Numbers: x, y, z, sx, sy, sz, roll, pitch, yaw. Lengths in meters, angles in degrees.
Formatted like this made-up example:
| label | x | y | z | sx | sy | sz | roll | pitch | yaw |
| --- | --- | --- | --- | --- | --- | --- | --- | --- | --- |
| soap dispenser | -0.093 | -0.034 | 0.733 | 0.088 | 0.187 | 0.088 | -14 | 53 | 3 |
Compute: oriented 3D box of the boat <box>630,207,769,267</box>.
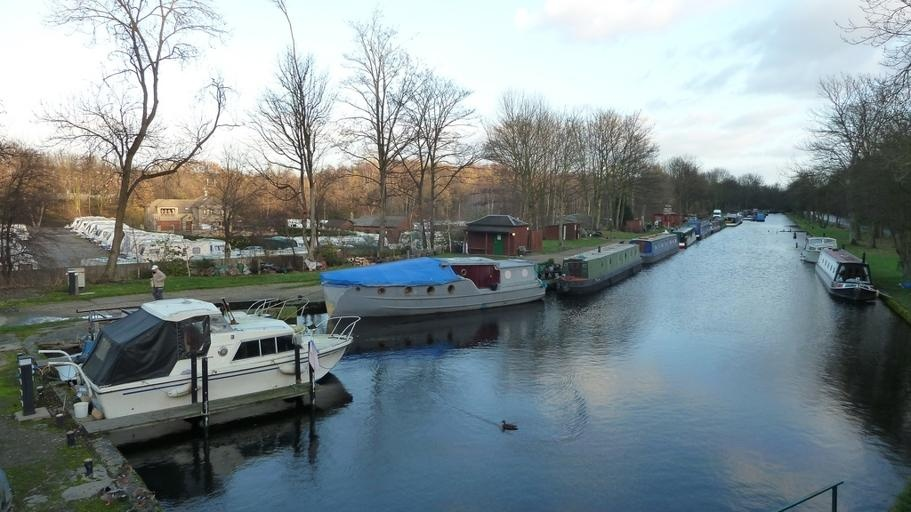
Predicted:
| label | x | y | z | sx | sy | sz | roll | pitch | yaw |
| --- | --- | --- | --- | --- | --- | --- | --- | --- | --- |
| boat | 39.313 | -3.488 | 104.754 | 5.229 | 4.873 | 67.374 | 10 | 13 | 31 |

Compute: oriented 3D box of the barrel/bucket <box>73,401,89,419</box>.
| label | x | y | z | sx | sy | sz | roll | pitch | yaw |
| --- | --- | --- | --- | --- | --- | --- | --- | --- | --- |
| barrel/bucket | -19.384 | 7.854 | 33.180 | 0.726 | 0.663 | 0.838 | 2 | -1 | -6 |

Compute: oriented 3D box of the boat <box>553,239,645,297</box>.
| label | x | y | z | sx | sy | sz | roll | pitch | yaw |
| --- | --- | --- | --- | --- | --- | --- | --- | --- | --- |
| boat | 13.703 | 1.012 | 60.694 | 3.528 | 2.989 | 14.074 | 9 | 16 | 34 |

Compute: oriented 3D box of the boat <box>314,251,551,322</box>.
| label | x | y | z | sx | sy | sz | roll | pitch | yaw |
| --- | --- | --- | --- | --- | --- | --- | --- | --- | --- |
| boat | -1.274 | 2.552 | 50.092 | 17.565 | 4.237 | 5.478 | -2 | 5 | -23 |

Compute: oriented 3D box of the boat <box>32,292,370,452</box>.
| label | x | y | z | sx | sy | sz | roll | pitch | yaw |
| --- | --- | --- | --- | --- | --- | --- | --- | --- | --- |
| boat | -15.436 | 6.071 | 35.965 | 15.674 | 4.616 | 7.767 | -5 | 7 | -37 |

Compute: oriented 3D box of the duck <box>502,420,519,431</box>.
| label | x | y | z | sx | sy | sz | roll | pitch | yaw |
| --- | --- | --- | --- | --- | --- | --- | --- | --- | --- |
| duck | 2.967 | 9.041 | 34.657 | 0.639 | 0.292 | 0.442 | 10 | 5 | 9 |

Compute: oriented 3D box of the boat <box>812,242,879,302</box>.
| label | x | y | z | sx | sy | sz | roll | pitch | yaw |
| --- | --- | --- | --- | --- | --- | --- | --- | --- | --- |
| boat | 34.931 | 1.427 | 57.498 | 3.696 | 3.928 | 12.972 | -3 | 2 | 25 |
